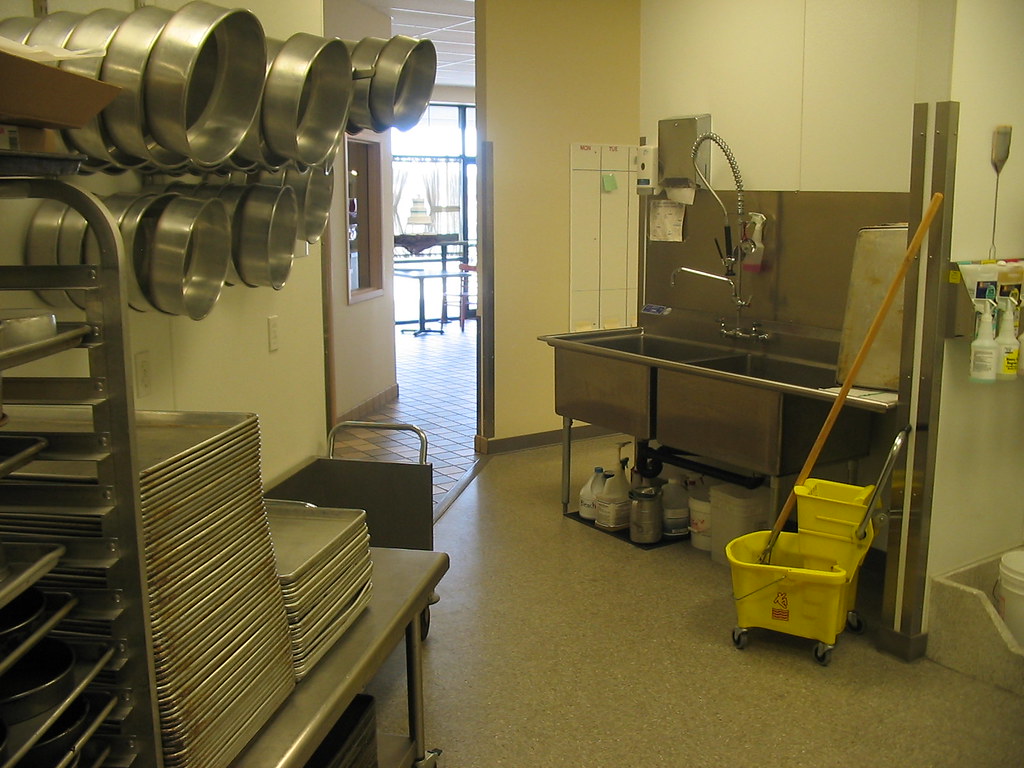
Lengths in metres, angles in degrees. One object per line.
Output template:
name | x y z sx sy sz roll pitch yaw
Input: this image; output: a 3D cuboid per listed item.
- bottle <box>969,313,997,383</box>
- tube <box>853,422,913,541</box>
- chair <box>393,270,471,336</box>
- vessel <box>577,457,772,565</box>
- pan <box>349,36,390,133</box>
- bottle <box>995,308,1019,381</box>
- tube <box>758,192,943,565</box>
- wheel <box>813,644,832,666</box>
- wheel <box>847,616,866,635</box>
bottle | 1.724 -0.156 3.079 0.093 0.275 0.122 3 12 18
tube | 1.500 0.385 3.409 0.103 0.598 0.064 26 4 -39
chair | -1.056 -1.197 11.933 0.916 0.881 1.706 -5 13 -18
vessel | 0.832 0.615 4.358 0.445 0.401 1.013 -9 15 -34
pan | -0.444 -0.921 2.570 0.122 0.275 0.170 -3 12 -12
bottle | 1.828 -0.163 3.103 0.085 0.265 0.148 6 14 31
tube | 1.314 -0.003 3.345 0.570 1.463 0.543 3 12 17
wheel | 1.181 1.026 3.216 0.062 0.084 0.044 3 12 19
wheel | 1.391 0.983 3.421 0.068 0.088 0.028 -2 4 26
